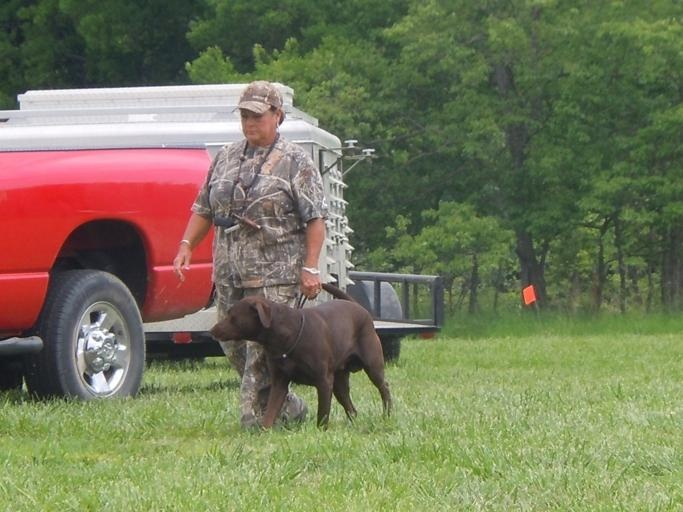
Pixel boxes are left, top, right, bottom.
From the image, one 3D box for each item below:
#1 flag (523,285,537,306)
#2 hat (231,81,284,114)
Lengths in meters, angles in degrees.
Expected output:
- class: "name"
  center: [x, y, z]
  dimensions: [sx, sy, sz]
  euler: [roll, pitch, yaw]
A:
- class: "flag"
  center: [5.566, 1.125, 47.060]
  dimensions: [0.263, 0.290, 0.492]
  euler: [-20, -19, 1]
- class: "hat"
  center: [-1.257, -2.543, 25.736]
  dimensions: [0.464, 0.352, 0.654]
  euler: [3, -3, 31]
